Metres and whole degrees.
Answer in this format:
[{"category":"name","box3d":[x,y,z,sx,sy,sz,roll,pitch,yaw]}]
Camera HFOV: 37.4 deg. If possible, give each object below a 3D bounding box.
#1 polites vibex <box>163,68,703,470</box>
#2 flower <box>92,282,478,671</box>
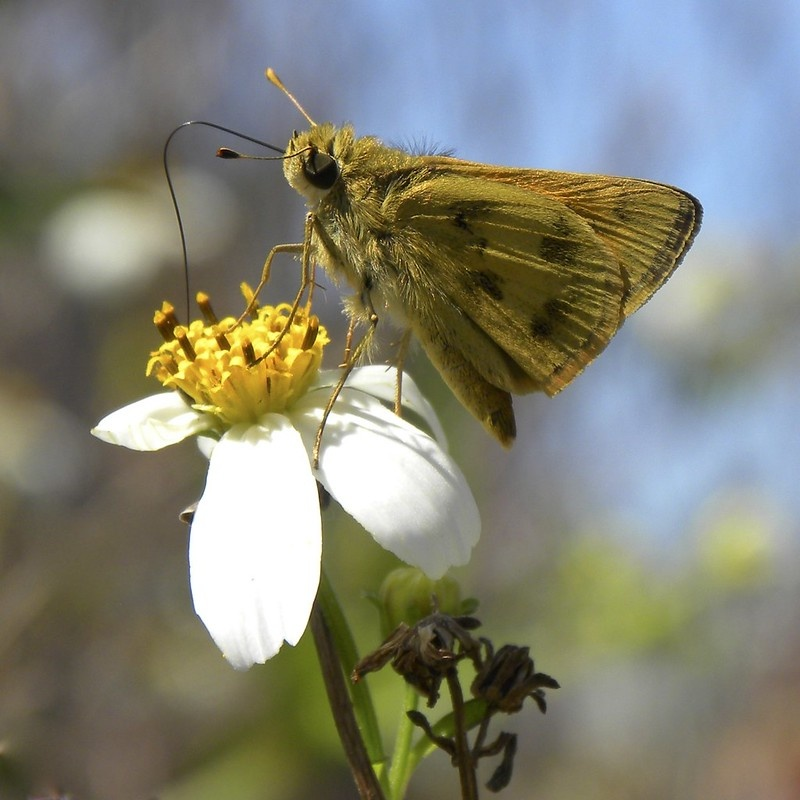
[{"category":"polites vibex","box3d":[-0.001,-0.208,1.893,0.719,0.493,0.686,23,4,2]},{"category":"flower","box3d":[-0.233,0.022,1.592,0.371,0.457,0.229,2,-47,-30]}]
